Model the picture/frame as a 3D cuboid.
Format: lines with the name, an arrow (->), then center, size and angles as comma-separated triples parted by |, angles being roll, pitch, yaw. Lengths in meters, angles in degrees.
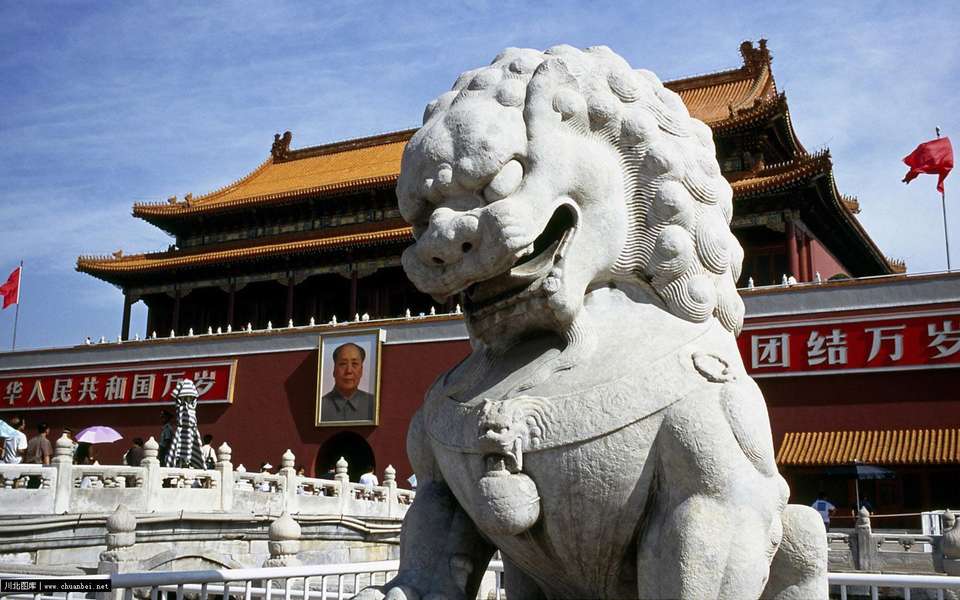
picture/frame -> -2.492, 1.585, 22.284 | 1.899, 2.361, 0.210 | -4, -15, 22

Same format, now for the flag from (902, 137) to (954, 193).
flag -> 7.995, -2.322, 20.600 | 0.790, 0.838, 0.709 | -13, 3, 19
